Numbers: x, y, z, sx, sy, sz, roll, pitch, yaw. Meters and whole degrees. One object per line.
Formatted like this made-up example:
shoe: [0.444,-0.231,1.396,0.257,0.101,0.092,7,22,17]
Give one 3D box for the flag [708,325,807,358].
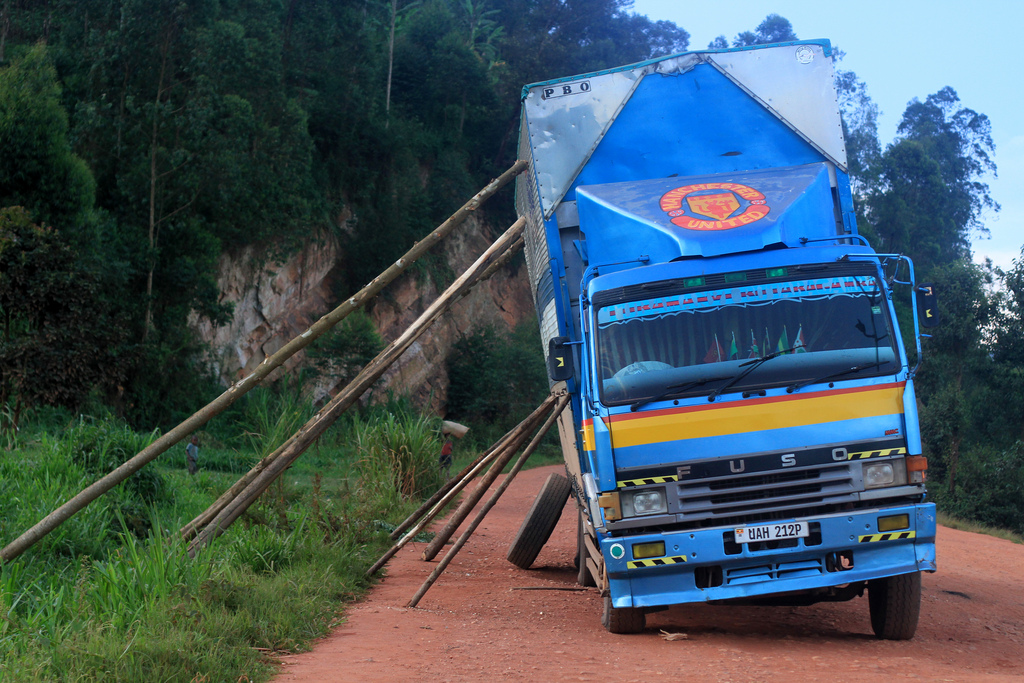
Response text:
flag: [3.214,0.061,11.548,1.363,0.497,0.117,1,-4,-3]
